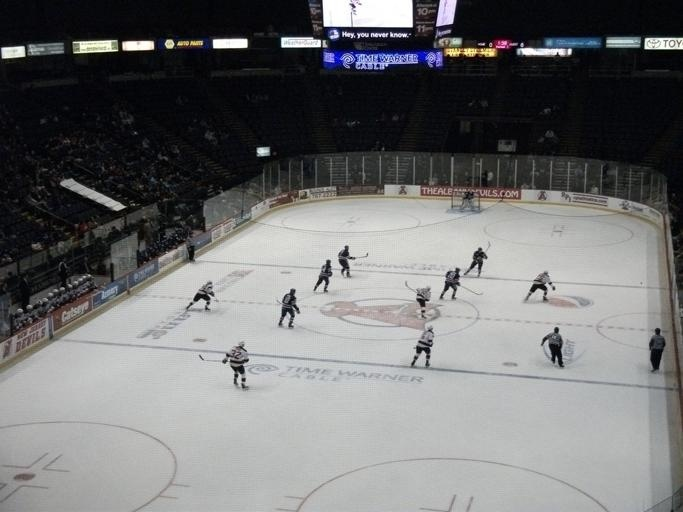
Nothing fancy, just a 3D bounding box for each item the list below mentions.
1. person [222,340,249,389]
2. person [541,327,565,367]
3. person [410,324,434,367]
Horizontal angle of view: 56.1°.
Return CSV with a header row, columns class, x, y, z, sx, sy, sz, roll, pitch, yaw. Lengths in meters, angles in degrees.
class,x,y,z,sx,sy,sz,roll,pitch,yaw
person,-3.320,3.495,20.523,0.859,1.434,2.188,8,-12,-7
person,7.281,3.125,21.907,0.705,1.343,2.164,3,-13,19
person,2.823,3.111,21.561,0.598,0.421,1.756,26,-30,12
